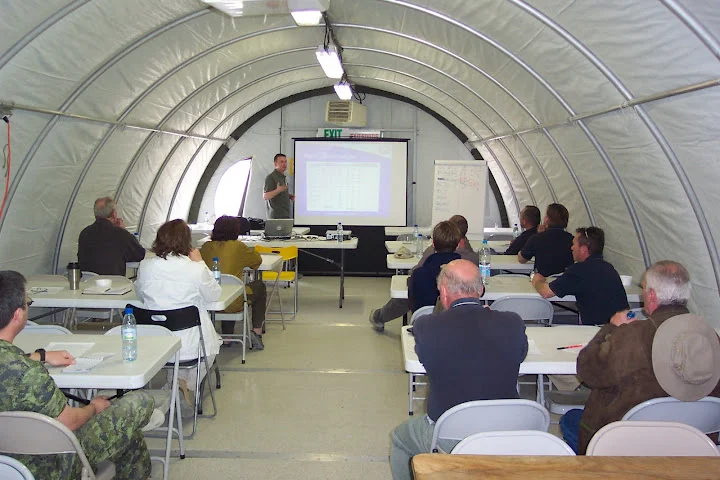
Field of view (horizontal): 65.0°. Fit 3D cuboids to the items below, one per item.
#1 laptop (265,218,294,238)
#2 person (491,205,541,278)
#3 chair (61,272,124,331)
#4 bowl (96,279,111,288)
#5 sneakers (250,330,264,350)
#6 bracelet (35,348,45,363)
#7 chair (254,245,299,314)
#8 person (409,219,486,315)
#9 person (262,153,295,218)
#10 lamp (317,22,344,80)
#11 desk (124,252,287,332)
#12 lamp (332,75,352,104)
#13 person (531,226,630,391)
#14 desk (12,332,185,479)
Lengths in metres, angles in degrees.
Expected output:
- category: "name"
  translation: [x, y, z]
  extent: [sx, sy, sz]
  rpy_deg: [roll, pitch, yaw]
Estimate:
- category: "laptop"
  translation: [-1.358, -0.191, 9.544]
  extent: [0.440, 0.306, 0.317]
  rpy_deg: [1, 7, -15]
- category: "person"
  translation: [2.377, 0.206, 8.755]
  extent: [0.837, 1.481, 0.819]
  rpy_deg: [1, 3, 23]
- category: "chair"
  translation: [-3.038, 0.682, 6.398]
  extent: [0.516, 0.843, 0.632]
  rpy_deg: [3, 25, -10]
- category: "bowl"
  translation: [-2.815, 0.472, 6.213]
  extent: [0.105, 0.067, 0.104]
  rpy_deg: [-1, -2, 0]
- category: "sneakers"
  translation: [-1.390, 1.365, 7.631]
  extent: [0.138, 0.312, 0.124]
  rpy_deg: [-15, -10, -10]
- category: "bracelet"
  translation: [-2.451, 0.886, 4.346]
  extent: [0.067, 0.102, 0.102]
  rpy_deg: [-4, 18, -43]
- category: "chair"
  translation: [-1.170, 0.627, 8.903]
  extent: [0.879, 0.963, 0.876]
  rpy_deg: [-15, -13, -3]
- category: "person"
  translation: [1.026, 0.589, 6.509]
  extent: [0.717, 1.588, 0.932]
  rpy_deg: [4, 17, 13]
- category: "person"
  translation: [-1.595, -1.066, 11.329]
  extent: [0.570, 1.353, 1.640]
  rpy_deg: [0, 11, -7]
- category: "lamp"
  translation: [-0.470, -2.792, 8.592]
  extent: [0.279, 0.401, 0.946]
  rpy_deg: [0, 5, 7]
- category: "desk"
  translation: [-1.709, 0.715, 5.867]
  extent: [1.196, 0.697, 0.831]
  rpy_deg: [5, 14, 16]
- category: "lamp"
  translation: [-0.296, -3.000, 10.974]
  extent: [0.342, 0.201, 0.623]
  rpy_deg: [3, -3, 1]
- category: "person"
  translation: [2.445, 0.666, 6.133]
  extent: [0.943, 1.593, 0.793]
  rpy_deg: [-2, 18, 29]
- category: "desk"
  translation: [-2.007, 1.250, 4.277]
  extent: [1.301, 0.918, 0.714]
  rpy_deg: [2, 14, 3]
